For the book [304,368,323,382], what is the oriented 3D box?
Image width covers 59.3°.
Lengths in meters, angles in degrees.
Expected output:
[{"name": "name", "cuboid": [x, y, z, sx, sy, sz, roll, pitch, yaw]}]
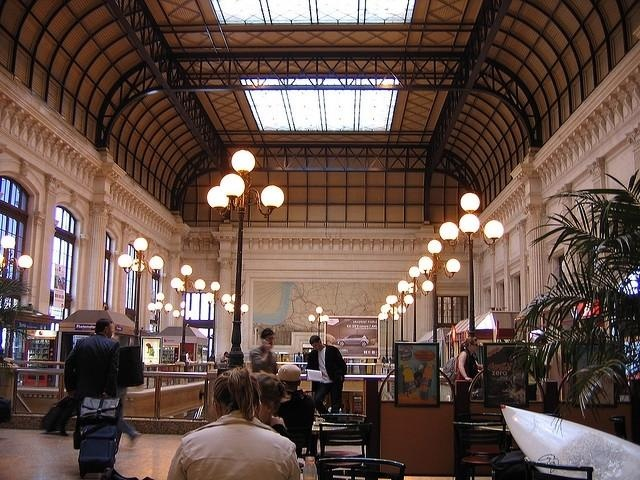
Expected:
[{"name": "book", "cuboid": [-0.130, 2.925, 11.933, 0.300, 0.331, 0.234, 3, 19, 4]}]

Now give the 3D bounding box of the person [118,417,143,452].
[{"name": "person", "cuboid": [-3.452, 3.542, 10.125, 0.191, 0.991, 0.237, -18, 22, -41]}]

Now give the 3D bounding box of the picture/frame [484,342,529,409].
[{"name": "picture/frame", "cuboid": [3.166, 2.321, 9.577, 0.701, 1.106, 0.055, -2, 7, 14]}]
